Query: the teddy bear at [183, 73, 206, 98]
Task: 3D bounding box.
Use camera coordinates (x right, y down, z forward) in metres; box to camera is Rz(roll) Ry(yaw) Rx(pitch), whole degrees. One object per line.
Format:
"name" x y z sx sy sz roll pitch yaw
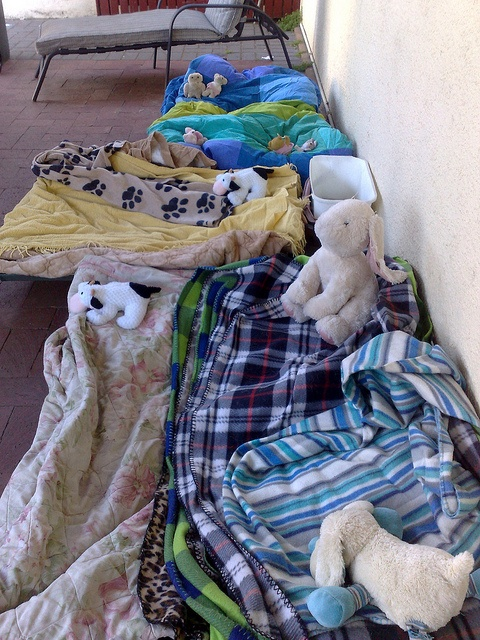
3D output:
"teddy bear" -0.248 -1.329 3.133 0.144 0.121 0.129 -16 45 -16

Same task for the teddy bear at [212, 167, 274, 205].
"teddy bear" 0.006 -0.525 2.174 0.218 0.094 0.172 -3 43 -4

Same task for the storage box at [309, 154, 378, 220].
"storage box" 0.378 -0.539 2.110 0.246 0.141 0.340 0 44 5

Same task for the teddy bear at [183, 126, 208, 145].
"teddy bear" -0.212 -0.873 2.613 0.111 0.046 0.174 -3 43 -3

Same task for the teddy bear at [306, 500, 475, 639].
"teddy bear" 0.233 0.396 0.904 0.182 0.082 0.196 -21 27 -27

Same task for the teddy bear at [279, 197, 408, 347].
"teddy bear" 0.286 -0.152 1.530 0.275 0.370 0.309 -7 30 -23

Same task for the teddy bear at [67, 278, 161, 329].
"teddy bear" -0.403 -0.069 1.733 0.261 0.096 0.182 9 43 9
